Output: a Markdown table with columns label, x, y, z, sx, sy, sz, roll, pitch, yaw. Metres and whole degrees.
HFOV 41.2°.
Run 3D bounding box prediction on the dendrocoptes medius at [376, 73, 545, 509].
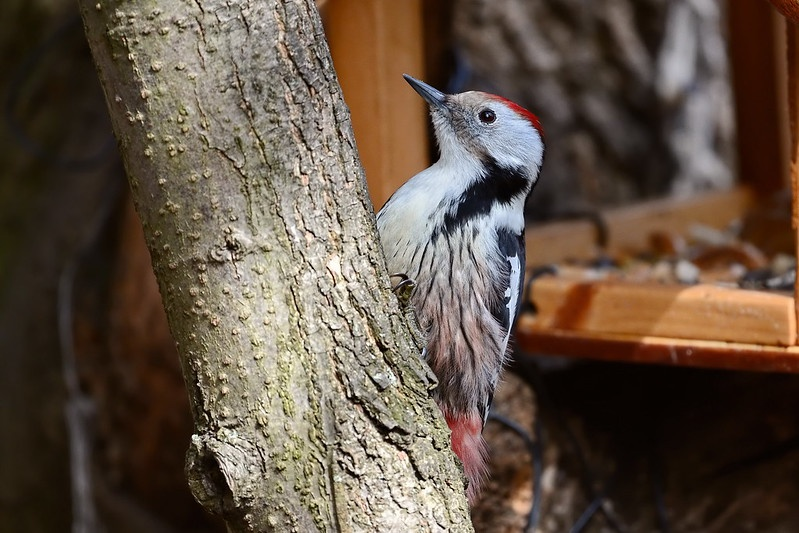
| label | x | y | z | sx | sy | sz | roll | pitch | yaw |
| --- | --- | --- | --- | --- | --- | --- | --- | --- | --- |
| dendrocoptes medius | 0.306 | 0.128 | 5.200 | 0.534 | 1.783 | 0.894 | 12 | 29 | 35 |
